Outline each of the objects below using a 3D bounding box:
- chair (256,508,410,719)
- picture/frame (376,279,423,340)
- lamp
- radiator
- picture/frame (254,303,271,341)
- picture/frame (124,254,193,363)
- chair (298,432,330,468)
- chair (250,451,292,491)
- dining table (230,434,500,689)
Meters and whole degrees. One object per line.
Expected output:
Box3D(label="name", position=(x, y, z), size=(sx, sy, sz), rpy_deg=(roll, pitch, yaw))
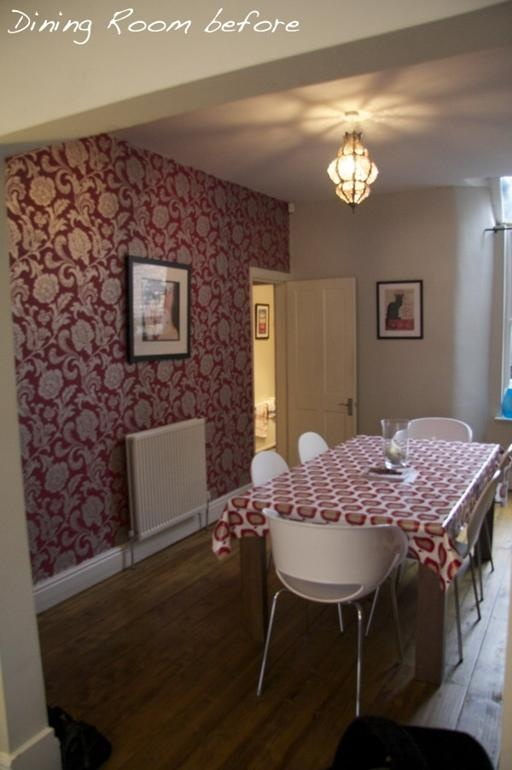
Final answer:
Box3D(label="chair", position=(0.327, 0.849, 2.172), size=(0.519, 0.794, 0.555), rpy_deg=(1, 8, 43))
Box3D(label="picture/frame", position=(1.357, -0.726, 5.036), size=(0.502, 0.676, 0.043), rpy_deg=(3, 8, 36))
Box3D(label="lamp", position=(0.519, -1.210, 2.918), size=(0.218, 0.469, 0.232), rpy_deg=(2, -5, -3))
Box3D(label="radiator", position=(-0.611, 0.641, 3.822), size=(0.105, 0.748, 0.775), rpy_deg=(0, -13, -45))
Box3D(label="picture/frame", position=(0.079, -0.824, 6.793), size=(0.036, 0.548, 0.457), rpy_deg=(2, 7, 32))
Box3D(label="picture/frame", position=(-0.652, -0.519, 3.734), size=(0.675, 0.725, 0.037), rpy_deg=(10, 13, 40))
Box3D(label="chair", position=(0.369, 0.412, 3.568), size=(0.188, 0.301, 0.198), rpy_deg=(-9, 14, -28))
Box3D(label="chair", position=(0.097, 0.480, 3.049), size=(0.188, 0.304, 0.204), rpy_deg=(-9, 15, -33))
Box3D(label="dining table", position=(0.468, 0.530, 2.447), size=(0.831, 0.599, 1.265), rpy_deg=(2, 10, 30))
